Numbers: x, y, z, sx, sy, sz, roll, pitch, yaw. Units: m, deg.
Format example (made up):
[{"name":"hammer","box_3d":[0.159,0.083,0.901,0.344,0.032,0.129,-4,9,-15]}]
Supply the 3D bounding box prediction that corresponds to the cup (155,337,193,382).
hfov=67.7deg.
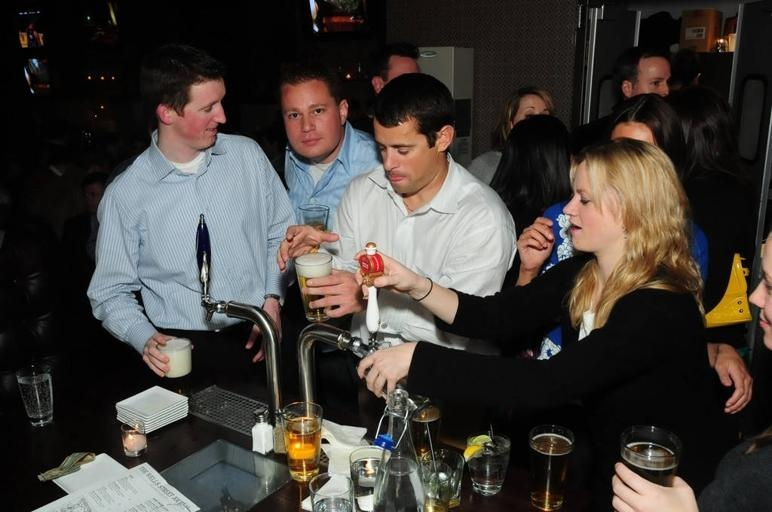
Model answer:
[{"name":"cup","box_3d":[-1.019,0.504,2.814,0.187,0.189,0.180,-1,4,0]}]

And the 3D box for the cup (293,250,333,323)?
[{"name":"cup","box_3d":[-0.333,0.157,2.770,0.166,0.341,0.240,-7,20,-7]}]

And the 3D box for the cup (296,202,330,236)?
[{"name":"cup","box_3d":[-0.385,-0.214,3.071,0.145,0.156,0.151,0,2,0]}]

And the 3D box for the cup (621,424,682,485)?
[{"name":"cup","box_3d":[0.949,0.724,2.077,0.185,0.152,0.201,-3,19,1]}]

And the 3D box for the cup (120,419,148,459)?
[{"name":"cup","box_3d":[-1.062,0.788,2.452,0.123,0.104,0.118,-3,-3,0]}]

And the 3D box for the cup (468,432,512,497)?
[{"name":"cup","box_3d":[0.412,0.833,2.297,0.185,0.192,0.183,0,8,0]}]
